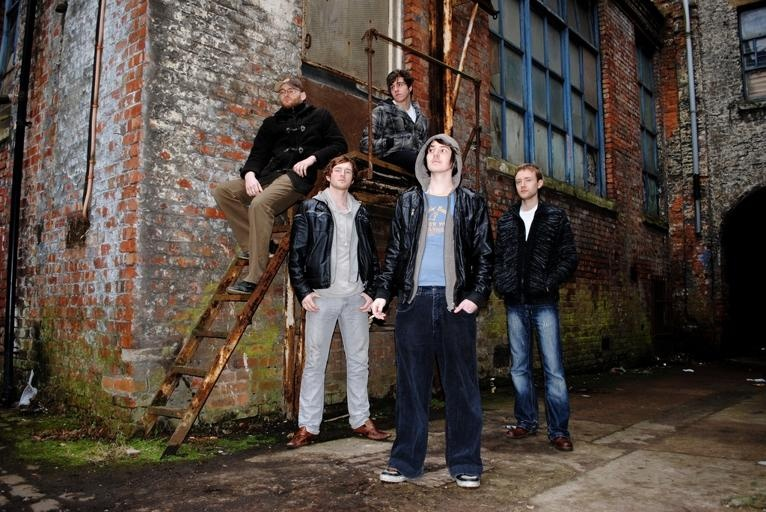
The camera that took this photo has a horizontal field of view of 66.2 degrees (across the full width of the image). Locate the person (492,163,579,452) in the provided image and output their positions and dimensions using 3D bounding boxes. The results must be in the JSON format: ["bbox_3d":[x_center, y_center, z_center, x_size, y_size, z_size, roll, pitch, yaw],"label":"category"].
[{"bbox_3d":[1.721,0.501,6.549,0.663,3.061,1.023,-2,5,-36],"label":"person"}]

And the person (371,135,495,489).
[{"bbox_3d":[0.497,0.451,5.576,1.046,3.232,0.733,1,4,11],"label":"person"}]

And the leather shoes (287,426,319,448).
[{"bbox_3d":[-0.846,1.932,6.239,0.135,0.159,0.375,-6,-13,27],"label":"leather shoes"}]

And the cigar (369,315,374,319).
[{"bbox_3d":[-0.120,0.638,6.212,0.046,0.040,0.173,1,-9,-10],"label":"cigar"}]

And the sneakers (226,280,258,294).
[{"bbox_3d":[-1.565,0.344,6.544,0.310,0.139,0.145,3,0,8],"label":"sneakers"}]

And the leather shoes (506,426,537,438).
[{"bbox_3d":[1.572,1.954,6.593,0.348,0.160,0.130,5,-5,-20],"label":"leather shoes"}]

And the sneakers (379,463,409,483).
[{"bbox_3d":[0.087,2.019,5.485,0.298,0.133,0.110,9,-9,-5],"label":"sneakers"}]

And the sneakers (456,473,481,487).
[{"bbox_3d":[0.779,2.031,5.355,0.183,0.069,0.103,5,0,19],"label":"sneakers"}]

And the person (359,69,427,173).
[{"bbox_3d":[0.334,-1.726,7.388,1.035,1.214,1.006,2,5,12],"label":"person"}]

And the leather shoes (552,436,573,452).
[{"bbox_3d":[1.890,1.954,6.196,0.238,0.129,0.194,2,4,17],"label":"leather shoes"}]

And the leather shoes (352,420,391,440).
[{"bbox_3d":[-0.170,1.920,6.503,0.487,0.210,0.175,-5,-9,35],"label":"leather shoes"}]
